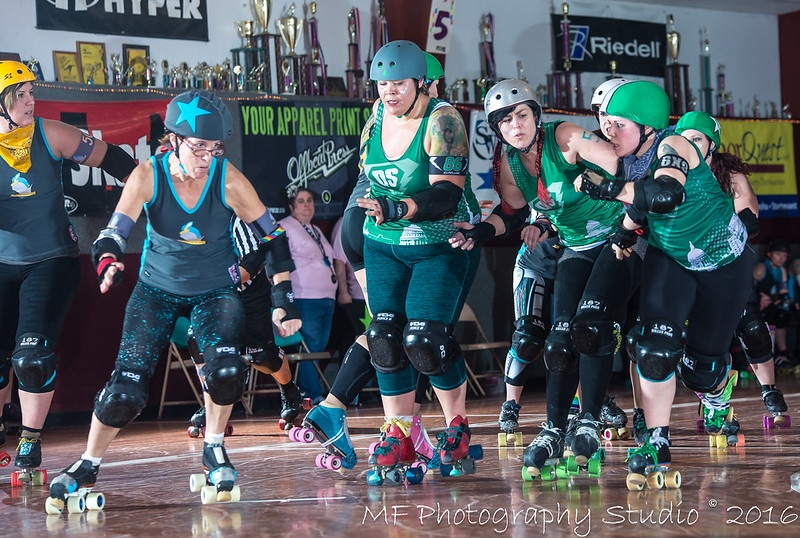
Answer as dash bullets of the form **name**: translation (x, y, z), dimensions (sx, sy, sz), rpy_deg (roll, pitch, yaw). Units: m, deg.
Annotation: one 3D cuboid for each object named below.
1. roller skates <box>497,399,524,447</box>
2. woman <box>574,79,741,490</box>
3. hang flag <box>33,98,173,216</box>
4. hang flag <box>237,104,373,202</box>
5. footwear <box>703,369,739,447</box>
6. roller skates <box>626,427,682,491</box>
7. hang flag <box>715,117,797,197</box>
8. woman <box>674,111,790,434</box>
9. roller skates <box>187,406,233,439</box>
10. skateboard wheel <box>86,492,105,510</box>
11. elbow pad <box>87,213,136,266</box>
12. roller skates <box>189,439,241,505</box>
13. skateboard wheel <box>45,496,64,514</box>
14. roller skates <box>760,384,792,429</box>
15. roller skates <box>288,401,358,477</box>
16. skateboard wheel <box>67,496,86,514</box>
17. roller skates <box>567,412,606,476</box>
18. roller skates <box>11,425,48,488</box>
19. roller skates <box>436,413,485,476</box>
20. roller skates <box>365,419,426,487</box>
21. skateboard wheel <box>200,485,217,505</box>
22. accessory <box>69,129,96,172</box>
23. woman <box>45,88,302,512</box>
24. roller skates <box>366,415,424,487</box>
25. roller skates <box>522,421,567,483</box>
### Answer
- **roller skates**: translation (0.792, 1.193, 6.095), dimensions (0.115, 0.266, 0.413), rpy_deg (0, 2, 5)
- **woman**: translation (1.691, 0.058, 4.852), dimensions (1.366, 2.362, 0.686), rpy_deg (-7, 9, -42)
- **hang flag**: translation (-3.043, -1.213, 8.421), dimensions (0.029, 1.214, 1.621), rpy_deg (4, 10, 23)
- **hang flag**: translation (-1.045, -1.332, 9.283), dimensions (1.606, 1.256, 0.023), rpy_deg (-10, 7, -36)
- **footwear**: translation (2.332, 1.096, 5.879), dimensions (0.209, 0.323, 0.681), rpy_deg (-19, 32, 38)
- **roller skates**: translation (1.417, 1.058, 4.545), dimensions (0.321, 0.327, 0.259), rpy_deg (0, 7, 4)
- **hang flag**: translation (4.359, -1.423, 9.962), dimensions (1.433, 1.605, 0.101), rpy_deg (-5, 0, -27)
- **woman**: translation (2.615, 0.070, 6.604), dimensions (0.739, 2.328, 0.725), rpy_deg (-9, 5, 31)
- **roller skates**: translation (-1.708, 1.343, 7.061), dimensions (0.235, 0.302, 0.458), rpy_deg (1, 7, 2)
- **skateboard wheel**: translation (-1.690, 1.288, 4.469), dimensions (0.093, 0.110, 0.108), rpy_deg (-3, 7, -18)
- **elbow pad**: translation (-1.613, -0.178, 4.523), dimensions (0.191, 0.326, 0.143), rpy_deg (23, -26, -3)
- **roller skates**: translation (-1.055, 1.155, 4.617), dimensions (0.187, 0.274, 0.402), rpy_deg (-1, 8, -17)
- **skateboard wheel**: translation (-1.884, 1.291, 4.448), dimensions (0.101, 0.107, 0.080), rpy_deg (1, 1, 5)
- **roller skates**: translation (3.037, 1.118, 6.521), dimensions (0.179, 0.315, 0.598), rpy_deg (-2, -5, 5)
- **roller skates**: translation (-0.423, 1.036, 4.985), dimensions (0.470, 0.342, 0.208), rpy_deg (45, -25, -25)
- **skateboard wheel**: translation (-1.765, 1.285, 4.415), dimensions (0.110, 0.113, 0.059), rpy_deg (-4, 7, -26)
- **roller skates**: translation (1.110, 1.036, 4.825), dimensions (0.166, 0.230, 0.455), rpy_deg (2, 14, 15)
- **roller skates**: translation (-2.418, 1.237, 5.286), dimensions (0.171, 0.304, 0.437), rpy_deg (0, -5, -6)
- **roller skates**: translation (0.355, 1.118, 5.051), dimensions (0.257, 0.302, 0.487), rpy_deg (-10, 8, 14)
- **roller skates**: translation (-0.043, 1.096, 4.871), dimensions (0.279, 0.361, 0.550), rpy_deg (5, -2, 19)
- **skateboard wheel**: translation (-1.061, 1.258, 4.483), dimensions (0.106, 0.105, 0.068), rpy_deg (-1, 7, -1)
- **accessory**: translation (-2.209, -0.829, 5.688), dimensions (0.166, 0.208, 0.218), rpy_deg (17, 25, -44)
- **woman**: translation (-1.223, 0.145, 4.523), dimensions (1.292, 2.269, 0.409), rpy_deg (-1, 6, -4)
- **roller skates**: translation (0.003, 1.082, 4.889), dimensions (0.265, 0.358, 0.525), rpy_deg (-8, -3, 40)
- **roller skates**: translation (0.863, 1.049, 4.829), dimensions (0.149, 0.281, 0.467), rpy_deg (6, 7, 35)
